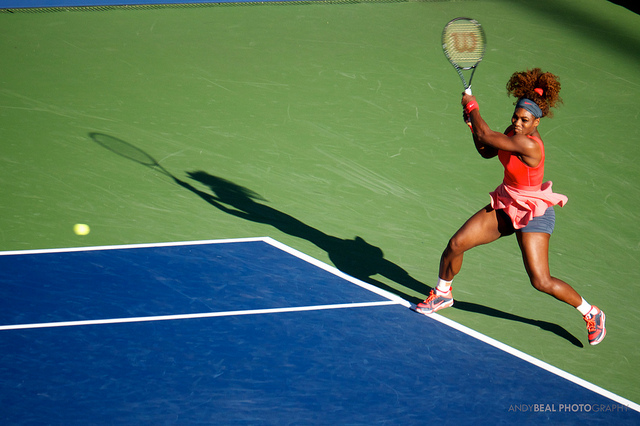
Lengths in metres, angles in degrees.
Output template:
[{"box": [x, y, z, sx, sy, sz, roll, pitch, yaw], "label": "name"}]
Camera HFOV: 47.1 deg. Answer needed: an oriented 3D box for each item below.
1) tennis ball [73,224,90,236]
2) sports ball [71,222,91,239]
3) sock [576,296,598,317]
[{"box": [-3.388, 0.229, 10.430, 0.197, 0.103, 0.215, 15, 20, -6], "label": "tennis ball"}, {"box": [-3.394, 0.239, 10.424, 0.277, 0.121, 0.215, 1, 55, -8], "label": "sports ball"}, {"box": [3.343, 1.184, 9.223, 0.272, 0.214, 0.127, 16, 23, -8], "label": "sock"}]
